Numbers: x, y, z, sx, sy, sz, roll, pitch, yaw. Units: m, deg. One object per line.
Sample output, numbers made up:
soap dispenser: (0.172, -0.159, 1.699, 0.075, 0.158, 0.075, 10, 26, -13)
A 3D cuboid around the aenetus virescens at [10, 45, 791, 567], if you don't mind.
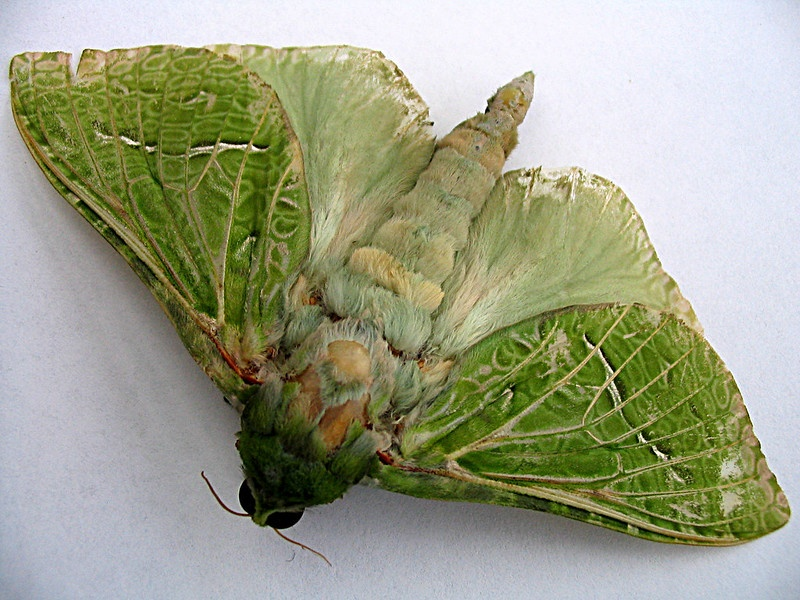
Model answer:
aenetus virescens: (0.153, -0.112, 5.403, 3.579, 0.748, 2.532, 34, 73, 6)
